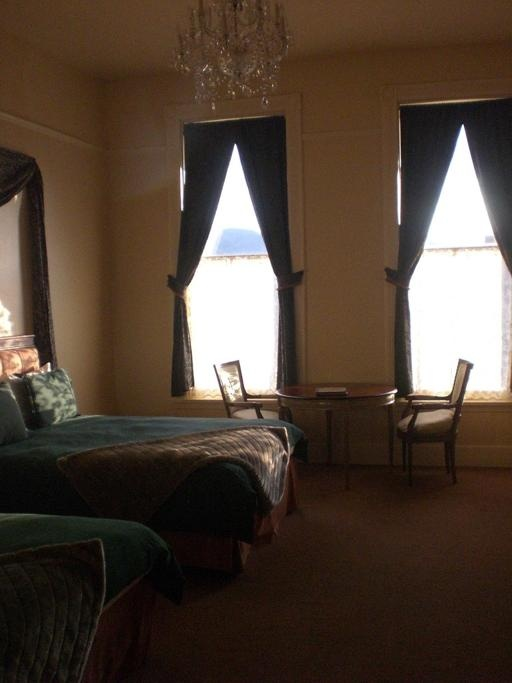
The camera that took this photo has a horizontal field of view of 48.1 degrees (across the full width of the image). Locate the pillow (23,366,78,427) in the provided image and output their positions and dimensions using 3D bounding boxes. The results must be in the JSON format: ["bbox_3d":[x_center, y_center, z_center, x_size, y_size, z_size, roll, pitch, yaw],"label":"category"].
[{"bbox_3d":[-1.482,0.392,4.183,0.134,0.344,0.342,-20,-8,39],"label":"pillow"}]

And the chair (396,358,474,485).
[{"bbox_3d":[1.453,0.630,4.740,0.631,0.956,0.566,-2,4,-1],"label":"chair"}]

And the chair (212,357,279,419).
[{"bbox_3d":[-0.033,0.526,5.064,0.495,0.729,0.446,-4,4,36],"label":"chair"}]

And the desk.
[{"bbox_3d":[0.588,0.583,4.595,0.838,0.589,0.820,-1,0,-42],"label":"desk"}]

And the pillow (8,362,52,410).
[{"bbox_3d":[-1.608,0.322,4.083,0.084,0.292,0.285,-11,3,30],"label":"pillow"}]
